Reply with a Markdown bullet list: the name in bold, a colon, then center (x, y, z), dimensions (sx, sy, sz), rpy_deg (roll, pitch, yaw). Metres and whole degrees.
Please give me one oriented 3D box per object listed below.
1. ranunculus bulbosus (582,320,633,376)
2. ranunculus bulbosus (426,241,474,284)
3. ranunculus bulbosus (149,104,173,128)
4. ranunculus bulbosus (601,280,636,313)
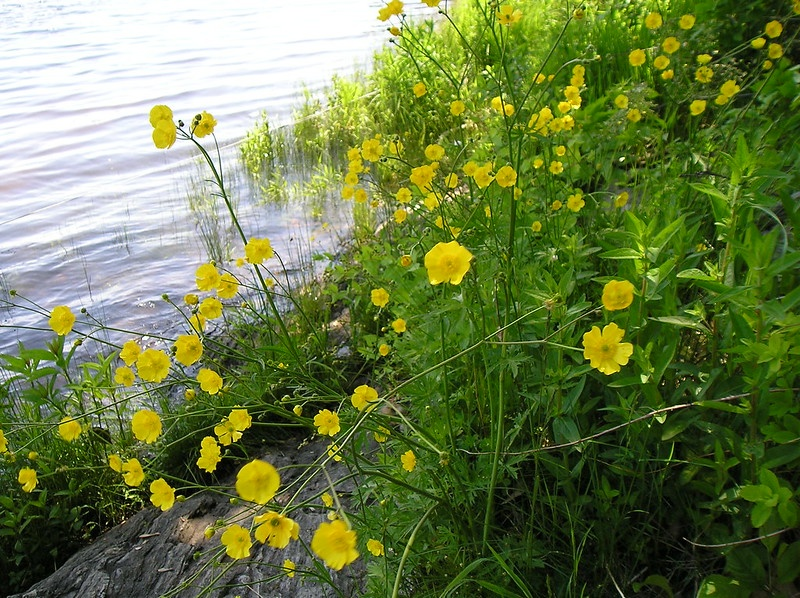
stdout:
- **ranunculus bulbosus**: center (0.591, 0.120, 1.542), dimensions (0.121, 0.162, 0.170), rpy_deg (4, 29, 29)
- **ranunculus bulbosus**: center (0.138, -0.086, 1.491), dimensions (0.111, 0.133, 0.091), rpy_deg (6, 29, 32)
- **ranunculus bulbosus**: center (-0.783, -0.603, 1.792), dimensions (0.069, 0.063, 0.088), rpy_deg (-20, 26, -17)
- **ranunculus bulbosus**: center (0.630, -0.015, 1.566), dimensions (0.071, 0.097, 0.107), rpy_deg (8, 31, 35)
